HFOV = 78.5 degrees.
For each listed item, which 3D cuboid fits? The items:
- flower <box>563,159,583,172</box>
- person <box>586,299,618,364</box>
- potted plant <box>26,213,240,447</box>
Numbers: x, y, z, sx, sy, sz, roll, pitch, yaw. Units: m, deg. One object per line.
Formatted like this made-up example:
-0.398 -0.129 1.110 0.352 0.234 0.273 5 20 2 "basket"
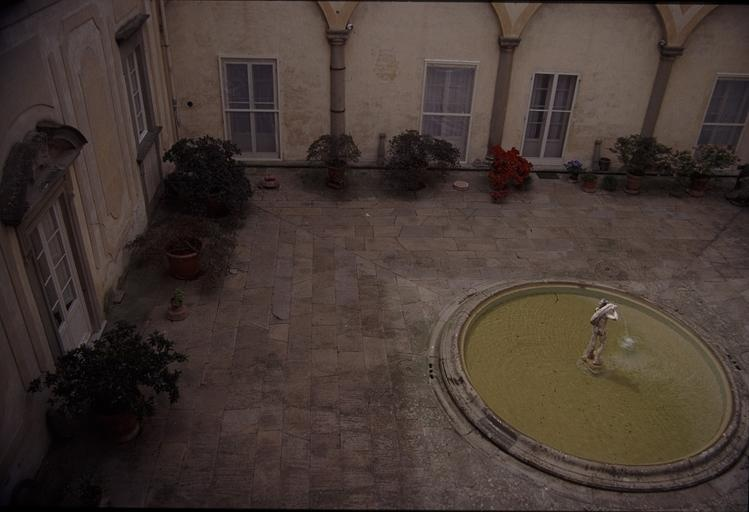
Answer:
5.471 -2.454 12.590 0.476 0.329 0.449 4 21 3 "flower"
3.824 1.197 7.681 0.381 1.042 0.803 14 24 26 "person"
-3.209 0.966 6.946 1.566 1.140 3.170 24 43 -12 "potted plant"
